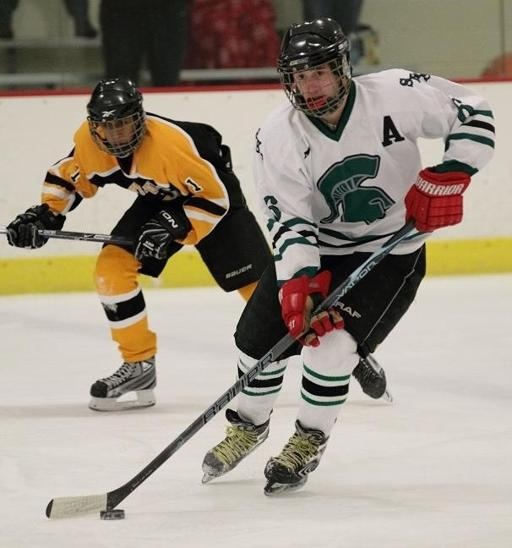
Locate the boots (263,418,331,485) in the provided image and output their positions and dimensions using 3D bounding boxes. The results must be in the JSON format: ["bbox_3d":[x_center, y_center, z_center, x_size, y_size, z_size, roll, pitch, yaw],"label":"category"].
[{"bbox_3d":[0.098,0.447,1.966,0.092,0.100,0.255,21,23,22],"label":"boots"}]

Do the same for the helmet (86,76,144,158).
[{"bbox_3d":[-0.451,-0.509,2.450,0.177,0.261,0.202,-4,11,-2],"label":"helmet"}]

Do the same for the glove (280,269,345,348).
[{"bbox_3d":[0.134,0.085,1.883,0.149,0.172,0.202,-3,10,1],"label":"glove"}]

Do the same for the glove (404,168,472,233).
[{"bbox_3d":[0.440,-0.184,1.850,0.213,0.150,0.134,1,5,9],"label":"glove"}]

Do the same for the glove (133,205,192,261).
[{"bbox_3d":[-0.301,-0.130,2.549,0.141,0.210,0.070,32,-17,10],"label":"glove"}]

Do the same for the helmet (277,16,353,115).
[{"bbox_3d":[0.136,-0.498,1.823,0.163,0.232,0.128,-3,12,1],"label":"helmet"}]
